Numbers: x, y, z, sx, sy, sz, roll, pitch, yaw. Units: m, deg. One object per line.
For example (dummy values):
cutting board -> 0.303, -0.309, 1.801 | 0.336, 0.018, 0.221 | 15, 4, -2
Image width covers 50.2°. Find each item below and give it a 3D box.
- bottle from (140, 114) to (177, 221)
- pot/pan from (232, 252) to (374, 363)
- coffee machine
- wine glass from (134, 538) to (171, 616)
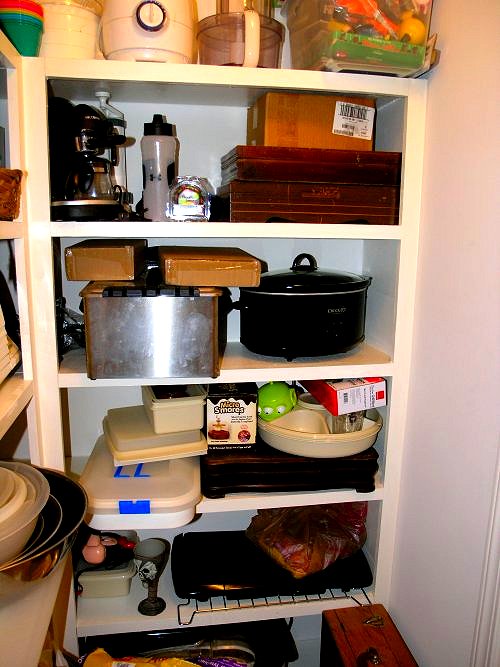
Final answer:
bottle -> -0.193, -0.352, 1.131 | 0.080, 0.218, 0.163 | -3, 15, -11
pot/pan -> 0.106, -0.041, 1.161 | 0.291, 0.203, 0.250 | 3, 17, 14
coffee machine -> -0.330, -0.365, 1.123 | 0.144, 0.239, 0.241 | 1, 15, 4
wine glass -> -0.221, 0.623, 1.374 | 0.085, 0.149, 0.118 | 0, 1, -1
